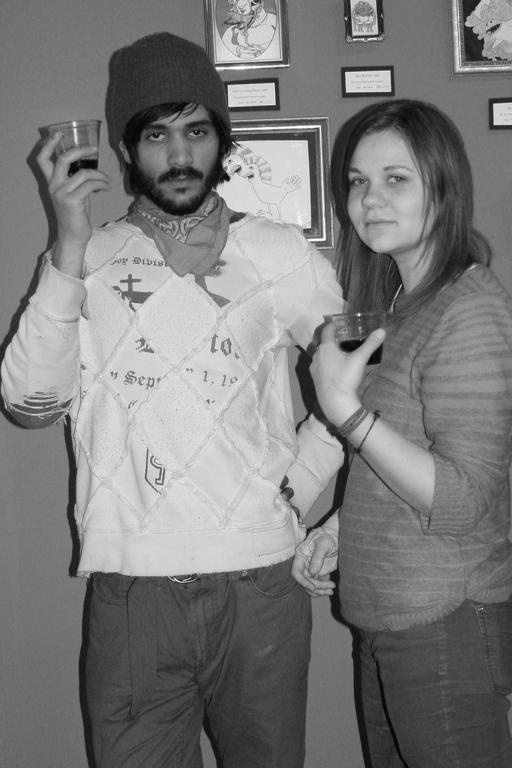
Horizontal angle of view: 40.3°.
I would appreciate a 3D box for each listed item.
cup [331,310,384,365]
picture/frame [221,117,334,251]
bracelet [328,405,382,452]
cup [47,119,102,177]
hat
[{"bbox_3d":[0.179,-0.095,1.258,0.101,0.124,0.085,2,13,12],"label":"cup"},{"bbox_3d":[0.019,-0.531,1.832,0.340,0.341,0.017,2,-12,-11],"label":"picture/frame"},{"bbox_3d":[0.160,0.056,1.113,0.068,0.032,0.074,-42,4,35],"label":"bracelet"},{"bbox_3d":[-0.329,-0.436,1.282,0.087,0.088,0.089,-5,21,2],"label":"cup"},{"bbox_3d":[-0.196,-0.610,1.416,0.226,0.190,0.222,3,16,24],"label":"hat"}]
